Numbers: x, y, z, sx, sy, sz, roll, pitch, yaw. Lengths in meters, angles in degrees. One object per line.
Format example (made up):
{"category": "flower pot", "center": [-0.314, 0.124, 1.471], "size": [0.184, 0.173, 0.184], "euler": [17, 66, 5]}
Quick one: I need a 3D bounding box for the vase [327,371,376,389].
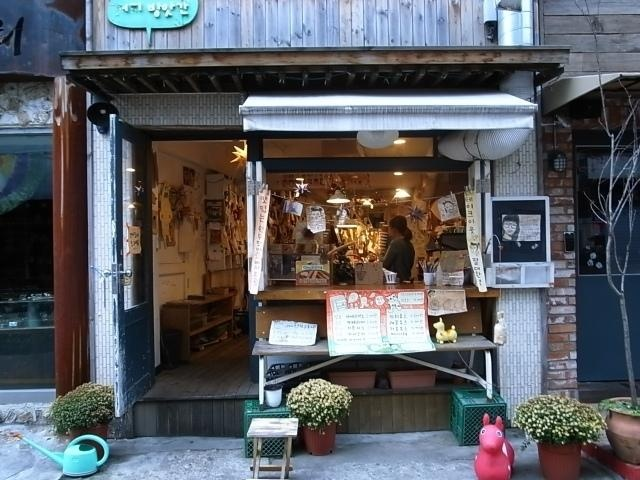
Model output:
{"category": "vase", "center": [0.371, 1.630, 7.462], "size": [0.367, 0.135, 0.254], "euler": [1, -8, 0]}

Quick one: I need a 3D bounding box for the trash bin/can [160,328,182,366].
{"category": "trash bin/can", "center": [-2.030, 1.478, 8.862], "size": [0.365, 0.501, 0.406], "euler": [-1, 0, -15]}

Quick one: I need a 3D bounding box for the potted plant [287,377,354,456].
{"category": "potted plant", "center": [-0.009, 1.911, 6.861], "size": [0.673, 0.803, 0.427], "euler": [-1, -4, -3]}

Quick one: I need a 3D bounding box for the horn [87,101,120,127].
{"category": "horn", "center": [-2.429, -1.436, 7.160], "size": [0.301, 0.310, 0.216], "euler": [-2, -4, 2]}

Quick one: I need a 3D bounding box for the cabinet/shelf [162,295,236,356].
{"category": "cabinet/shelf", "center": [-1.878, 1.281, 9.735], "size": [0.400, 0.877, 2.127], "euler": [-2, -4, 12]}

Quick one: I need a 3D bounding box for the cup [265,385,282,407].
{"category": "cup", "center": [-0.497, 1.729, 7.010], "size": [0.160, 0.175, 0.196], "euler": [0, -4, 13]}

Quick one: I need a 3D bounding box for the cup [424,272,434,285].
{"category": "cup", "center": [1.321, 0.476, 7.790], "size": [0.135, 0.145, 0.131], "euler": [1, -3, 0]}

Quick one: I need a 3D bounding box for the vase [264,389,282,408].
{"category": "vase", "center": [-0.519, 1.743, 7.037], "size": [0.175, 0.139, 0.183], "euler": [0, 2, 12]}

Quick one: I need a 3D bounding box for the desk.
{"category": "desk", "center": [0.669, 1.459, 7.388], "size": [2.755, 0.678, 0.873], "euler": [-2, -4, -1]}

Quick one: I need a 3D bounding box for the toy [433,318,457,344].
{"category": "toy", "center": [1.405, 1.039, 7.268], "size": [0.305, 0.320, 0.205], "euler": [1, -12, -11]}

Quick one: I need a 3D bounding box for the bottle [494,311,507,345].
{"category": "bottle", "center": [2.018, 0.997, 7.220], "size": [0.131, 0.377, 0.209], "euler": [-3, -4, 14]}

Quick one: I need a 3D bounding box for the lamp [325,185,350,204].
{"category": "lamp", "center": [0.246, -0.606, 8.586], "size": [0.228, 0.128, 0.223], "euler": [-5, 8, -42]}

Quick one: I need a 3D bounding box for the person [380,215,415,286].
{"category": "person", "center": [1.032, 0.115, 8.483], "size": [0.373, 0.897, 0.612], "euler": [-3, -4, 15]}

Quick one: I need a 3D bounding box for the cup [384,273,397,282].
{"category": "cup", "center": [0.881, 0.473, 7.988], "size": [0.116, 0.095, 0.121], "euler": [0, -4, 0]}
